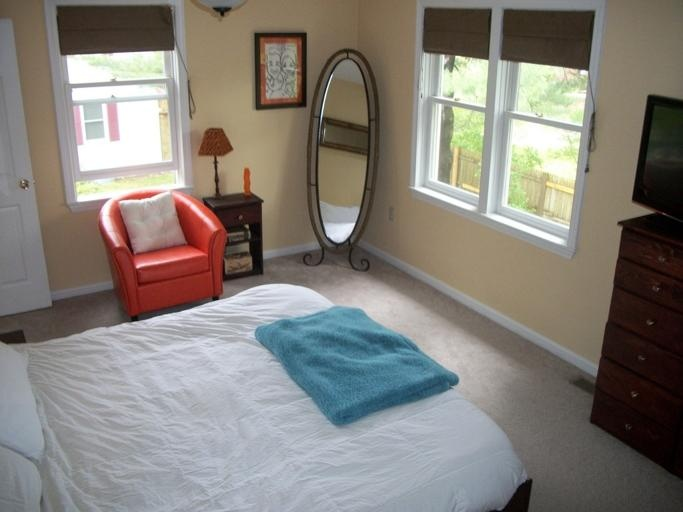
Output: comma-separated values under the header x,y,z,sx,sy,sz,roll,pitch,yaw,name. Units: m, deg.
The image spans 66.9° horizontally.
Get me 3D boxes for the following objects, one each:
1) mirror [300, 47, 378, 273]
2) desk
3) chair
x,y,z,sx,sy,sz,roll,pitch,yaw,name
-0.021,-1.016,5.463,0.825,2.206,0.755,1,19,4,mirror
-1.095,-0.221,5.296,0.506,0.836,0.383,-13,31,-29,desk
-1.578,-0.077,4.886,1.182,1.237,1.072,-11,24,-32,chair
